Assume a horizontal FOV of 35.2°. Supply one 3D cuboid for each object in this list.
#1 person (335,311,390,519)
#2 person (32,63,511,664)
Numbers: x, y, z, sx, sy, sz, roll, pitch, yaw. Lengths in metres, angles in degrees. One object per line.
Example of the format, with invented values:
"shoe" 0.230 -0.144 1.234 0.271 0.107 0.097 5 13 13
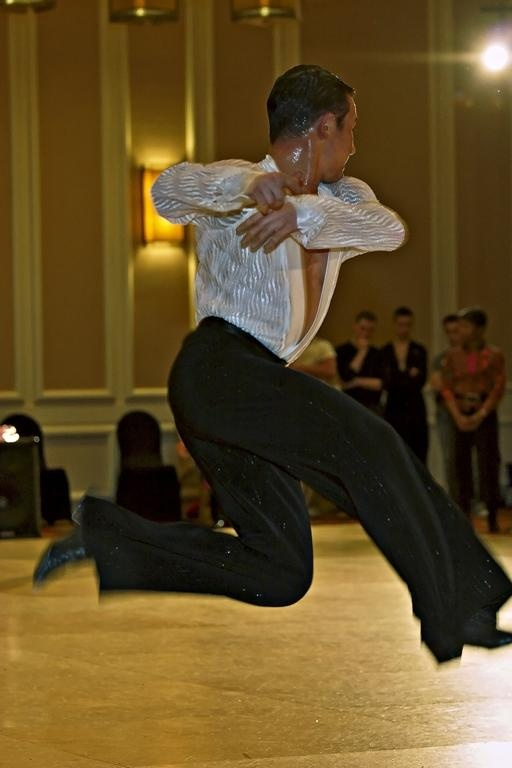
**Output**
"person" 0.864 0.045 7.010 0.510 1.362 0.436 2 21 -1
"person" 0.077 -0.112 1.859 1.043 1.279 0.554 2 10 22
